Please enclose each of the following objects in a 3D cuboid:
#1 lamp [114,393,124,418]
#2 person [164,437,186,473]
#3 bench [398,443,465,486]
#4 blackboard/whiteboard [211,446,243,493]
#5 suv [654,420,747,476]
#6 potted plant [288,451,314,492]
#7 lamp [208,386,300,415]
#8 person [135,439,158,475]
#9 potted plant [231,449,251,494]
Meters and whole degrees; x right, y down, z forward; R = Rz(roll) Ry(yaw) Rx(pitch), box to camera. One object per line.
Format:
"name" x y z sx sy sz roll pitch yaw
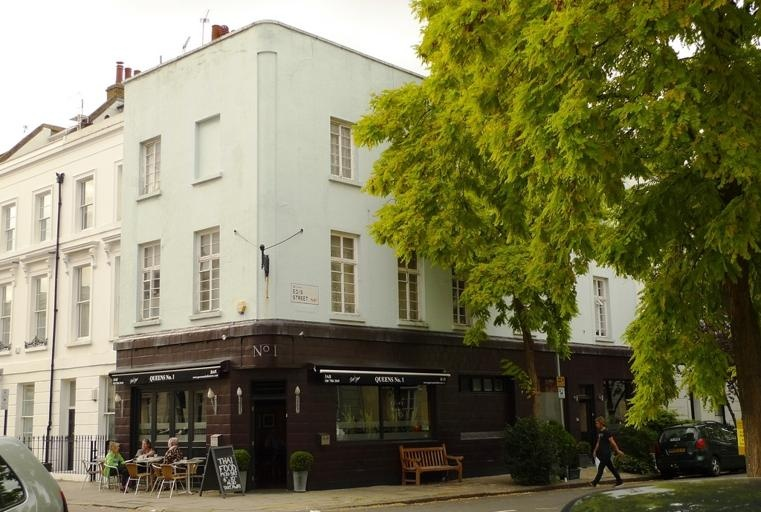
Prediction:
"lamp" -9.396 5.293 28.402 0.154 0.859 0.476 13 -25 -42
"person" -6.557 6.337 25.264 0.518 0.993 0.672 -9 -29 23
"bench" 1.736 7.164 27.315 2.321 1.186 0.972 11 -13 -43
"blackboard/whiteboard" -4.578 6.296 23.456 0.383 1.384 1.217 -13 -21 26
"suv" 11.723 7.007 29.147 3.111 1.520 1.766 4 -10 -42
"potted plant" -2.546 6.685 24.806 0.903 1.178 0.850 -19 -34 30
"lamp" -4.099 4.547 25.227 2.974 1.060 0.496 -6 -18 5
"person" -7.745 6.617 25.885 0.698 1.268 0.692 0 -16 -6
"potted plant" -4.453 6.573 24.536 0.708 1.108 0.741 -2 -17 5
